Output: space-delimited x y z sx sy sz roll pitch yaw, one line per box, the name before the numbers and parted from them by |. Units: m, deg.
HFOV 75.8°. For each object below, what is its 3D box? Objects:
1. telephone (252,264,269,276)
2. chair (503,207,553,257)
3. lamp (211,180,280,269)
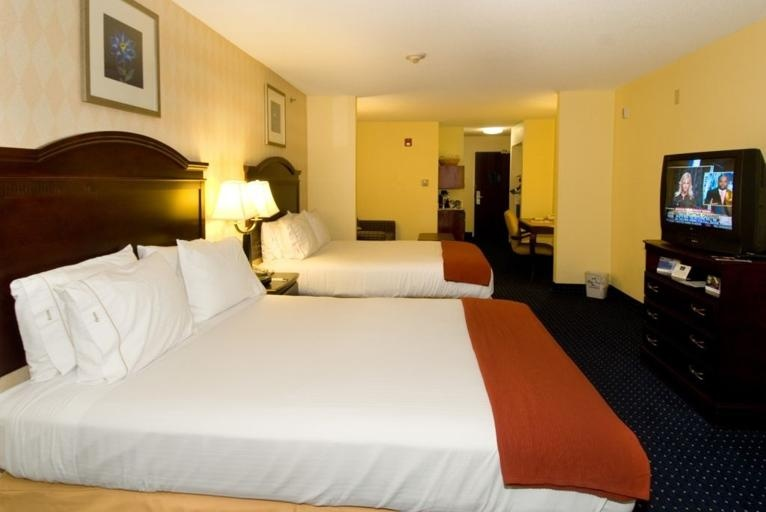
telephone | -1.196 0.133 4.709 0.176 0.069 0.135 2 5 3
chair | 2.286 -0.274 7.635 0.746 0.624 1.169 -2 8 7
lamp | -1.295 -0.289 4.554 0.275 0.812 0.797 3 9 16
